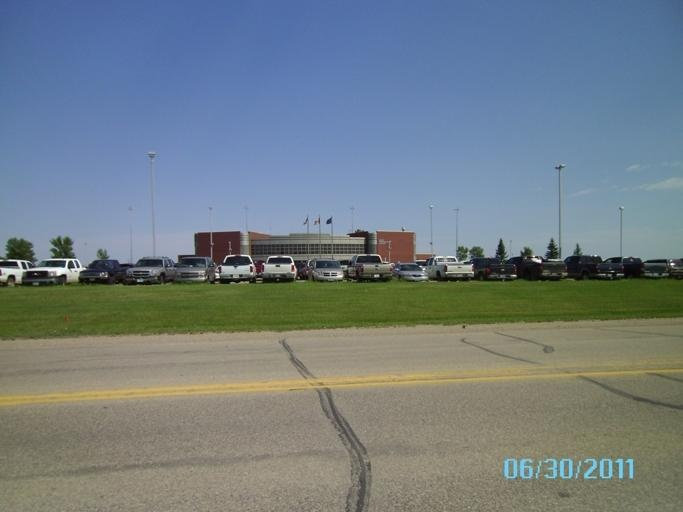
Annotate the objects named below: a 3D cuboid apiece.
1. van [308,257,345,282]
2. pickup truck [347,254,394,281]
[{"bbox_3d":[-0.990,0.918,41.010,1.352,1.100,2.796,0,-5,-9],"label":"van"},{"bbox_3d":[1.690,0.982,40.344,1.808,1.756,4.682,-2,9,-10],"label":"pickup truck"}]
